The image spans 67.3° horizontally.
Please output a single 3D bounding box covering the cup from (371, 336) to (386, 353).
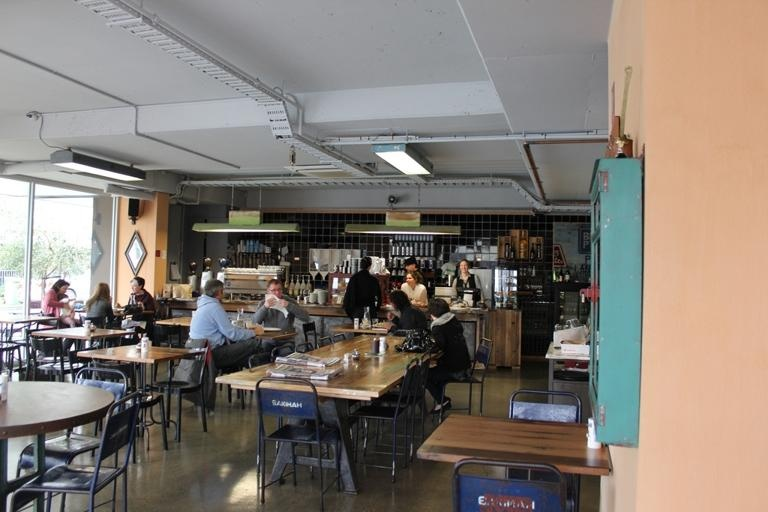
[{"bbox_3d":[-0.085,0.947,6.142,0.170,0.154,0.109,2,0,14],"label":"cup"}]

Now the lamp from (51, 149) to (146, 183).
[{"bbox_3d":[-4.070,-1.272,8.451,0.441,0.178,1.554,-2,-5,24],"label":"lamp"}]

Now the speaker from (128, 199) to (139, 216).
[{"bbox_3d":[-4.910,-0.943,11.358,0.197,0.342,0.143,1,2,-25],"label":"speaker"}]

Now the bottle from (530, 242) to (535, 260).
[{"bbox_3d":[2.976,-0.099,11.573,0.105,0.271,0.024,2,2,1],"label":"bottle"}]

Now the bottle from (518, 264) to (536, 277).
[{"bbox_3d":[2.868,0.288,11.593,0.389,0.200,0.254,2,8,9],"label":"bottle"}]

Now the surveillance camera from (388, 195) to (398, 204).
[{"bbox_3d":[0.201,-1.183,12.045,0.187,0.155,0.175,1,1,36],"label":"surveillance camera"}]

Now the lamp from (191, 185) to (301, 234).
[{"bbox_3d":[-2.740,-1.117,11.497,2.378,0.871,0.508,1,6,11],"label":"lamp"}]

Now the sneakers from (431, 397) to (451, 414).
[{"bbox_3d":[0.672,1.770,6.809,0.178,0.120,0.320,-33,-17,37],"label":"sneakers"}]

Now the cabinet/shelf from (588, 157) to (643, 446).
[{"bbox_3d":[1.221,0.230,3.016,0.222,1.478,0.164,2,2,0],"label":"cabinet/shelf"}]

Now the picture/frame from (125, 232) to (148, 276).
[{"bbox_3d":[-4.957,-0.074,11.510,0.518,0.857,0.177,3,2,39],"label":"picture/frame"}]

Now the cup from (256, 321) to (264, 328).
[{"bbox_3d":[-1.641,0.888,7.588,0.060,0.082,0.042,15,-41,-7],"label":"cup"}]

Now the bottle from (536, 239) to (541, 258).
[{"bbox_3d":[3.098,-0.122,11.546,0.097,0.316,0.034,2,2,6],"label":"bottle"}]

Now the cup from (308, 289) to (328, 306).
[{"bbox_3d":[-1.160,0.740,10.381,0.288,0.189,0.273,1,-9,0],"label":"cup"}]

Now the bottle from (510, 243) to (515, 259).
[{"bbox_3d":[2.554,-0.090,11.432,0.080,0.253,0.032,2,2,10],"label":"bottle"}]

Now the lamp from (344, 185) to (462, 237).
[{"bbox_3d":[0.459,-0.818,11.626,2.329,0.805,1.187,2,2,18],"label":"lamp"}]
